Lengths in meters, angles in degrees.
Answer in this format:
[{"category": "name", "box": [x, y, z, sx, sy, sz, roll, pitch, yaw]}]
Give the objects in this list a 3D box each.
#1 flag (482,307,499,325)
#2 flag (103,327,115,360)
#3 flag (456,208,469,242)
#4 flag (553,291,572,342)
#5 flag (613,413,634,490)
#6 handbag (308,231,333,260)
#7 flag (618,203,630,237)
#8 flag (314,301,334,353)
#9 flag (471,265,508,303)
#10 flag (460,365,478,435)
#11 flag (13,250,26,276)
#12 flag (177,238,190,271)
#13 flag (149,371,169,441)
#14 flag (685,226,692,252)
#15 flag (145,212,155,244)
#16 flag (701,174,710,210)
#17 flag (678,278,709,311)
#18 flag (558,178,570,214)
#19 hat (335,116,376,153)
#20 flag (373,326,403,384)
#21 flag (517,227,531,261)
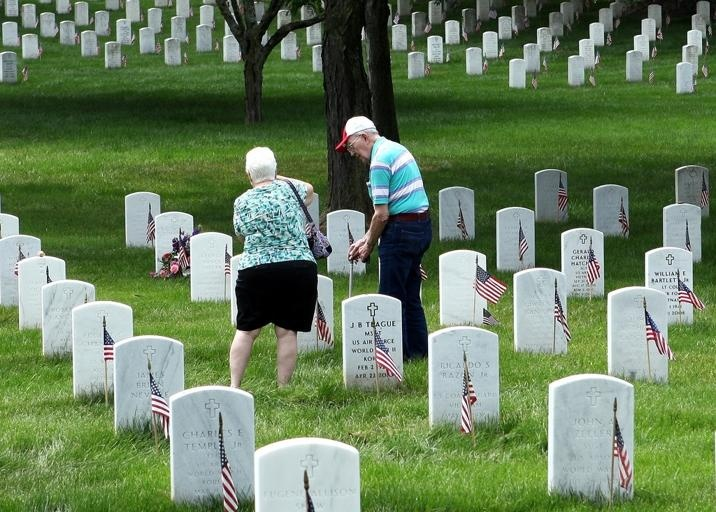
[{"category": "flag", "box": [3.049, 1.377, 58.281, 0.178, 0.383, 0.241, -18, 49, 11]}, {"category": "flag", "box": [-5.579, 1.937, 55.881, 0.262, 0.749, 0.305, -2, 7, -2]}, {"category": "flag", "box": [2.581, -0.793, 62.640, 0.188, 0.808, 0.300, 4, 9, 38]}, {"category": "flag", "box": [4.640, 1.332, 57.266, 0.348, 1.156, 0.230, -1, 7, 2]}, {"category": "flag", "box": [5.675, 4.180, 54.040, 0.386, 1.592, 0.181, -1, 7, 2]}, {"category": "handbag", "box": [-0.883, -0.245, 56.267, 0.403, 0.684, 0.294, -35, 4, 0]}, {"category": "flag", "box": [6.614, -0.902, 62.624, 0.293, 0.894, 0.257, -3, 7, -12]}, {"category": "flag", "box": [-0.834, 1.487, 57.363, 0.403, 1.301, 0.189, 6, -36, -24]}, {"category": "flag", "box": [3.035, 0.664, 58.580, 0.518, 0.675, 0.040, -46, -13, 27]}, {"category": "flag", "box": [2.390, 3.077, 55.080, 0.373, 1.465, 0.487, -1, 7, 7]}, {"category": "flag", "box": [-7.960, 0.205, 58.972, 0.282, 0.616, 1.024, -3, 8, -8]}, {"category": "flag", "box": [-4.254, -0.010, 61.004, 0.251, 0.775, 0.290, -2, 7, -4]}, {"category": "flag", "box": [-4.369, 3.222, 54.900, 0.378, 1.440, 0.633, -2, 7, -7]}, {"category": "flag", "box": [7.952, -0.415, 60.477, 0.129, 0.627, 0.503, 0, 8, 9]}, {"category": "flag", "box": [-5.217, -0.697, 62.741, 0.179, 0.801, 0.281, -4, 8, -17]}, {"category": "flag", "box": [8.774, -1.635, 63.655, 0.158, 0.894, 0.340, -1, 7, 0]}, {"category": "flag", "box": [7.565, 0.804, 57.783, 0.629, 1.266, 0.145, 13, 61, 38]}, {"category": "flag", "box": [5.214, -1.537, 63.765, 0.364, 0.902, 0.201, -8, 10, -42]}, {"category": "hat", "box": [-0.109, -2.805, 56.577, 0.904, 0.580, 0.625, -23, 8, 3]}, {"category": "flag", "box": [0.510, 2.099, 56.201, 0.867, 0.193, 1.989, 11, 39, -11]}, {"category": "flag", "box": [3.970, -0.298, 60.537, 0.249, 0.844, 0.209, -2, 7, -1]}]
